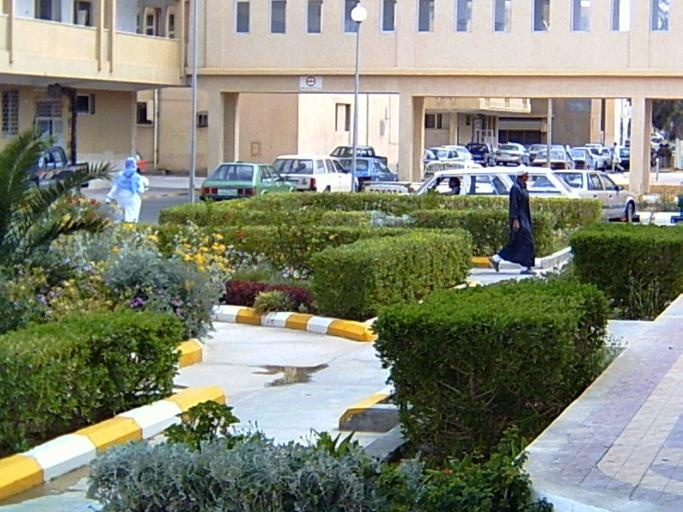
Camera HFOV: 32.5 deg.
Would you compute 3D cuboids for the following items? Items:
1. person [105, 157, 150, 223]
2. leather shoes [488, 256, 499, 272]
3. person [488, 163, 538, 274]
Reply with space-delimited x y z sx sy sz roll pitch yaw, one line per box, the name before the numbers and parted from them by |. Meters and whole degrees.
person | -4.217 -1.131 23.041 0.727 1.694 0.515 1 34 -12
leather shoes | 2.744 0.165 20.992 0.150 0.392 0.134 -13 39 7
person | 3.055 -0.559 20.753 0.764 1.870 0.879 1 5 8
